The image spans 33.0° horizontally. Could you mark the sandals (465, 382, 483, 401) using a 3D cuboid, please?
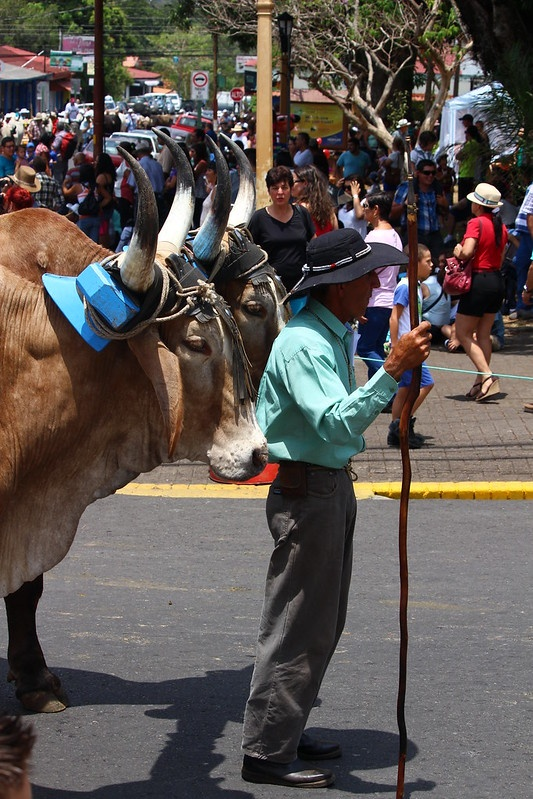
[{"bbox_3d":[2.337,-0.087,10.072,0.180,0.110,0.438,-2,10,3],"label":"sandals"}]

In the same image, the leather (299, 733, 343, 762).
[{"bbox_3d":[0.203,1.375,3.587,0.210,0.114,0.076,-2,6,-7],"label":"leather"}]

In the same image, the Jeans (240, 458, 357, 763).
[{"bbox_3d":[0.114,0.776,3.274,0.298,1.102,0.350,4,12,21],"label":"Jeans"}]

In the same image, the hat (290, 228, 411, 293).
[{"bbox_3d":[0.297,-0.493,3.223,0.317,0.111,0.269,-17,16,14],"label":"hat"}]

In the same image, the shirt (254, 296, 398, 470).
[{"bbox_3d":[0.259,-0.058,3.365,0.622,0.600,0.871,0,12,3],"label":"shirt"}]

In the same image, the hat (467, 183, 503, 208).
[{"bbox_3d":[2.410,-2.283,9.993,0.303,0.120,0.322,-8,40,-44],"label":"hat"}]
